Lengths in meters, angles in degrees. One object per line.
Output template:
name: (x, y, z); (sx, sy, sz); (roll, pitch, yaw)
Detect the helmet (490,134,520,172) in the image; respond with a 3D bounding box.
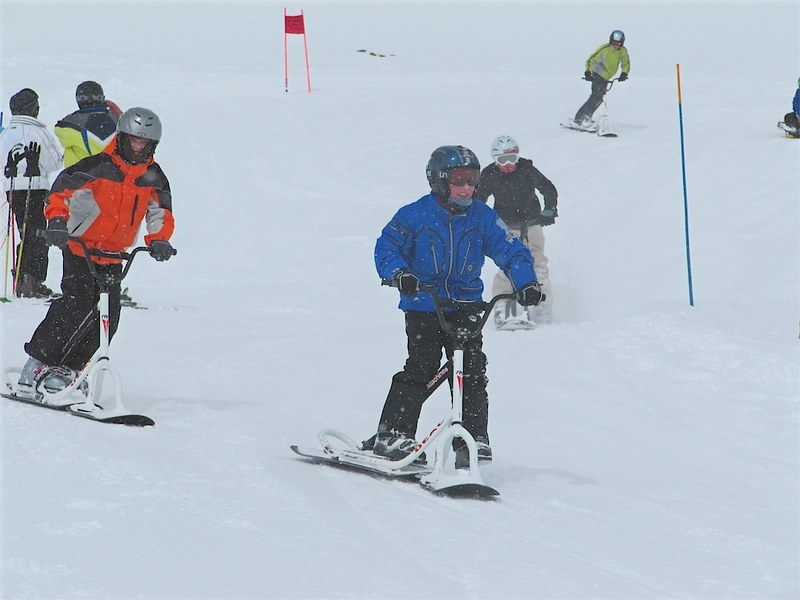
helmet: (1.212, -1.766, 13.102); (0.322, 0.405, 0.403); (-4, 18, 1)

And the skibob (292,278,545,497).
skibob: (-0.033, 0.671, 8.226); (1.710, 1.233, 0.842); (10, 8, 26)

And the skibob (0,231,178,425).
skibob: (-2.602, 0.311, 9.375); (1.010, 1.384, 1.976); (1, 7, -37)

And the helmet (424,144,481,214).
helmet: (0.390, -0.899, 8.087); (0.437, 0.550, 0.454); (-2, 3, -34)

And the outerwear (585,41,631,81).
outerwear: (4.147, -4.711, 21.756); (0.831, 0.716, 0.752); (8, 14, 5)

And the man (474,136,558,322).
man: (1.389, -0.859, 13.172); (1.053, 2.174, 0.972); (-11, 25, -1)

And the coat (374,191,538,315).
coat: (0.346, -0.362, 8.145); (1.242, 0.875, 0.874); (-3, 10, -22)

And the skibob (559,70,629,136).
skibob: (4.280, -4.373, 24.188); (1.521, 1.484, 0.820); (16, 23, 38)

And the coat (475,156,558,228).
coat: (1.381, -1.246, 13.080); (1.094, 0.937, 0.621); (-8, 24, 11)

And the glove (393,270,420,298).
glove: (0.048, -0.104, 7.648); (0.137, 0.178, 0.074); (-12, -17, -19)
